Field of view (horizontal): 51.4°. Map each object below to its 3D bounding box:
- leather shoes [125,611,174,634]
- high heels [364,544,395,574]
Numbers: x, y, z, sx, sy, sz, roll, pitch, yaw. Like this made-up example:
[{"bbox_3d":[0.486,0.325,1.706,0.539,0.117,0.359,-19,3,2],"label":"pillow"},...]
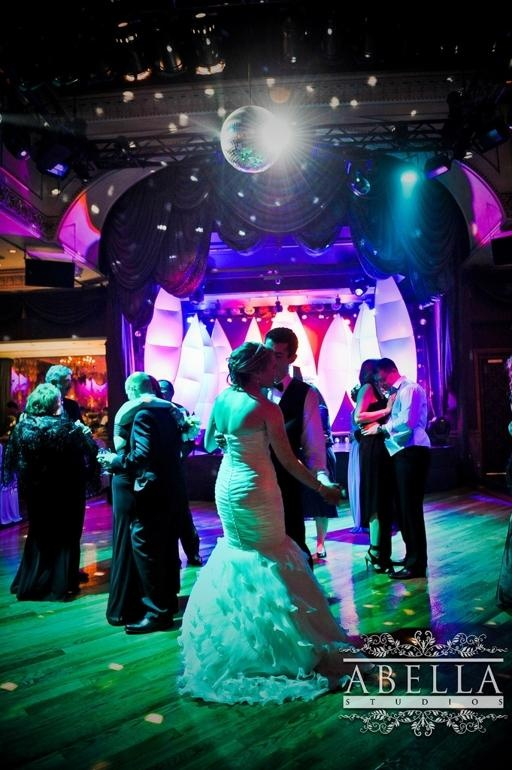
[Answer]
[{"bbox_3d":[-0.562,1.269,2.869,0.268,0.122,0.096,4,-10,-13],"label":"leather shoes"},{"bbox_3d":[0.868,1.252,3.795,0.126,0.136,0.248,4,-21,-19],"label":"high heels"}]
